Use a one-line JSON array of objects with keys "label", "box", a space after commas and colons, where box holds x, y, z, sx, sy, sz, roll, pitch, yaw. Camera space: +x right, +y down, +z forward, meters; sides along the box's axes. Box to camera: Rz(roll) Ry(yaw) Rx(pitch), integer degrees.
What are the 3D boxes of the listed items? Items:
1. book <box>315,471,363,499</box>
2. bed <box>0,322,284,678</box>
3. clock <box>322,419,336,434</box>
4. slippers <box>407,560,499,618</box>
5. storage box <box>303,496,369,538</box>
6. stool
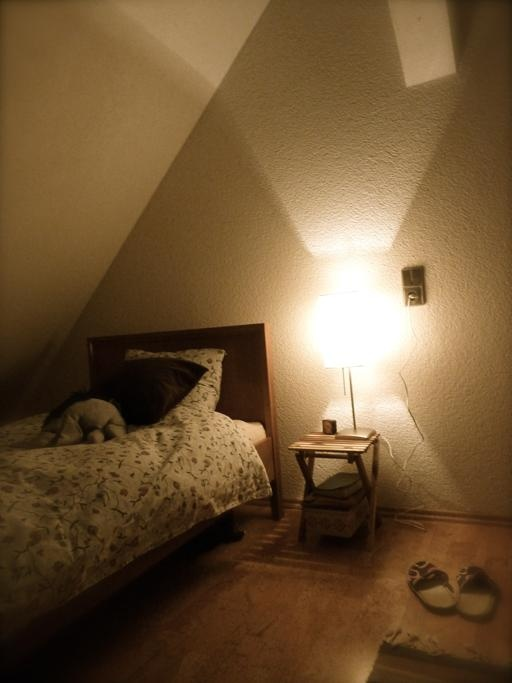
[{"label": "book", "box": [0.334, 0.578, 2.027, 0.140, 0.085, 0.218, -4, 0, 34]}, {"label": "bed", "box": [-0.396, 0.401, 2.113, 0.700, 0.702, 1.020, -1, 9, 21]}, {"label": "clock", "box": [0.321, 0.376, 2.243, 0.056, 0.062, 0.032, 2, 7, 21]}, {"label": "slippers", "box": [0.579, 0.750, 1.533, 0.262, 0.047, 0.222, -5, 0, 26]}, {"label": "storage box", "box": [0.295, 0.682, 1.968, 0.155, 0.089, 0.232, -2, -2, 19]}, {"label": "stool", "box": [0.331, 0.574, 1.998, 0.326, 0.409, 0.420, -3, -9, 17]}]
